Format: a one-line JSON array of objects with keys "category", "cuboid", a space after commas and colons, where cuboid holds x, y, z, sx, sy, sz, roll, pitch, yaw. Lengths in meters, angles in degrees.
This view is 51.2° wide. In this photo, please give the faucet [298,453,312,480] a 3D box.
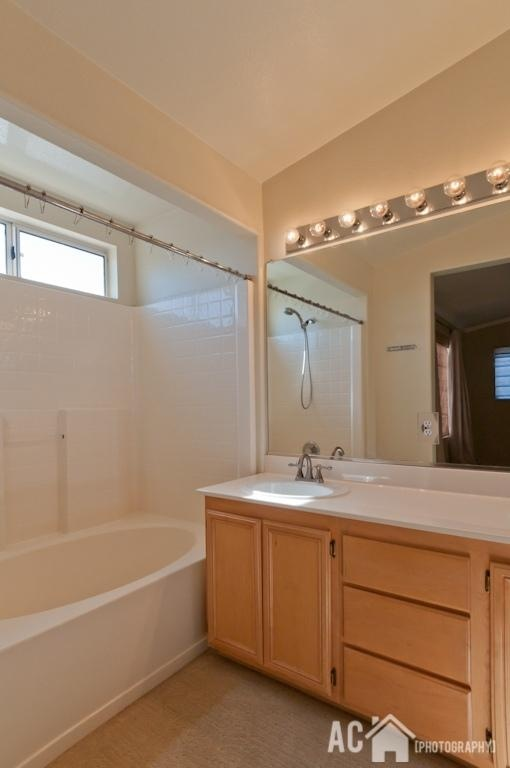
[{"category": "faucet", "cuboid": [0.230, 0.381, 2.481, 0.073, 0.116, 0.168, 0, 7, 5]}]
